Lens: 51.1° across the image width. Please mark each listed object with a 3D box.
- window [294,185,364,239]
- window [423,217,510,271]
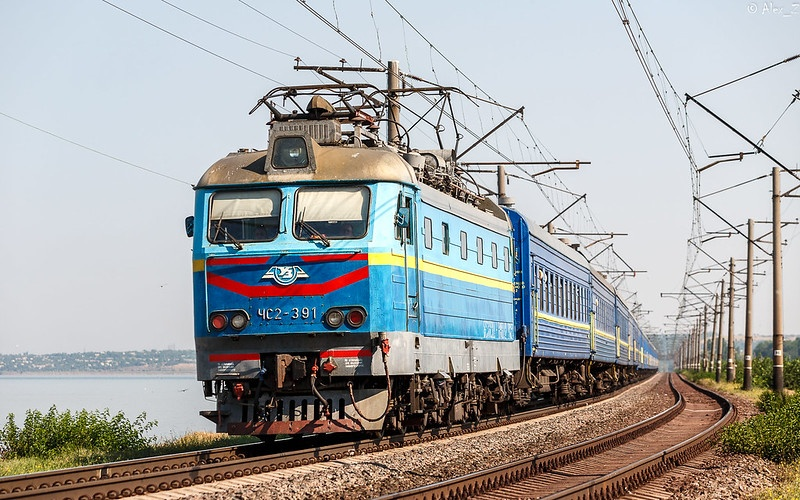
[{"bbox_3d":[-1.533,-0.775,17.988,1.221,0.860,0.048,0,-15,1],"label":"window"},{"bbox_3d":[1.926,-0.180,21.823,0.876,1.362,4.646,-3,-7,18],"label":"window"}]
